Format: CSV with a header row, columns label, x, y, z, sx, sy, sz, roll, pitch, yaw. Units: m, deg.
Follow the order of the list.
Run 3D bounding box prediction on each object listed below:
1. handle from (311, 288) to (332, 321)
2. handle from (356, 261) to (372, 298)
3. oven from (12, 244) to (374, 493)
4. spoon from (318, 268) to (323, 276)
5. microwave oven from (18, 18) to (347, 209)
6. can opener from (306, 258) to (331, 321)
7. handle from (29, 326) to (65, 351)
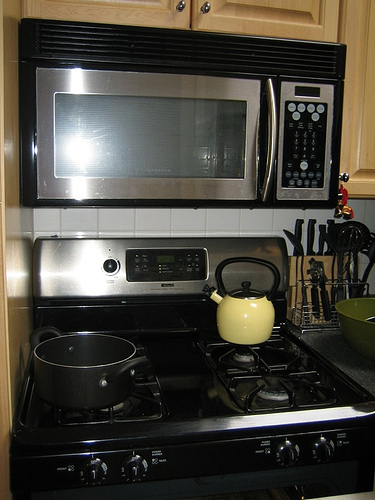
label,x,y,z,sx,sy,sz,roll,pitch,yaw
handle,0.432,0.172,1.402,0.060,0.108,0.035,-5,11,13
handle,0.632,0.102,1.556,0.023,0.160,0.028,36,-22,-25
oven,0.010,0.251,1.093,0.833,0.474,0.668,-2,7,-20
spoon,0.430,0.070,1.402,0.009,0.026,0.019,-3,-2,12
microwave oven,-0.019,-0.354,1.250,0.841,0.421,0.404,-4,15,-17
can opener,0.426,0.130,1.422,0.064,0.025,0.215,10,53,-8
handle,-0.336,0.199,1.006,0.048,0.020,0.067,3,11,-5
